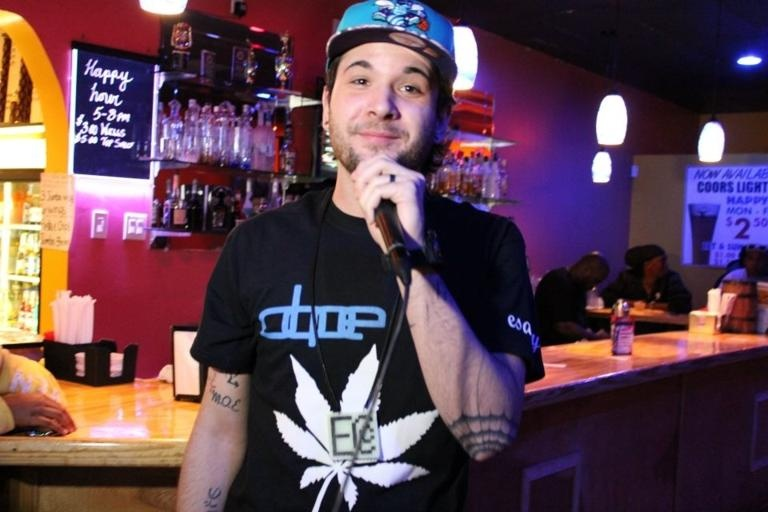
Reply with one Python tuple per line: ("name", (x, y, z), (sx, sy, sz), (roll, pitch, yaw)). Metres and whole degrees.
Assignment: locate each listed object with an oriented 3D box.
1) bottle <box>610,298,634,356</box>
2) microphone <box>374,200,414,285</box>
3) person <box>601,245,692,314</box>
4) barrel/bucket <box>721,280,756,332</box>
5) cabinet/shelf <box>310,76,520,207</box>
("bottle", (1.286, 0.377, 3.507), (0.110, 0.227, 0.264), (4, 2, 20))
("microphone", (0.029, -0.046, 1.864), (0.071, 0.297, 0.086), (-7, 25, 22))
("person", (2.801, 0.260, 6.966), (0.599, 0.763, 0.505), (0, -15, 8))
("barrel/bucket", (2.324, 0.330, 4.253), (0.221, 0.309, 0.135), (4, 3, 26))
("cabinet/shelf", (0.613, -0.848, 6.053), (1.174, 1.280, 1.860), (0, 2, -19))
